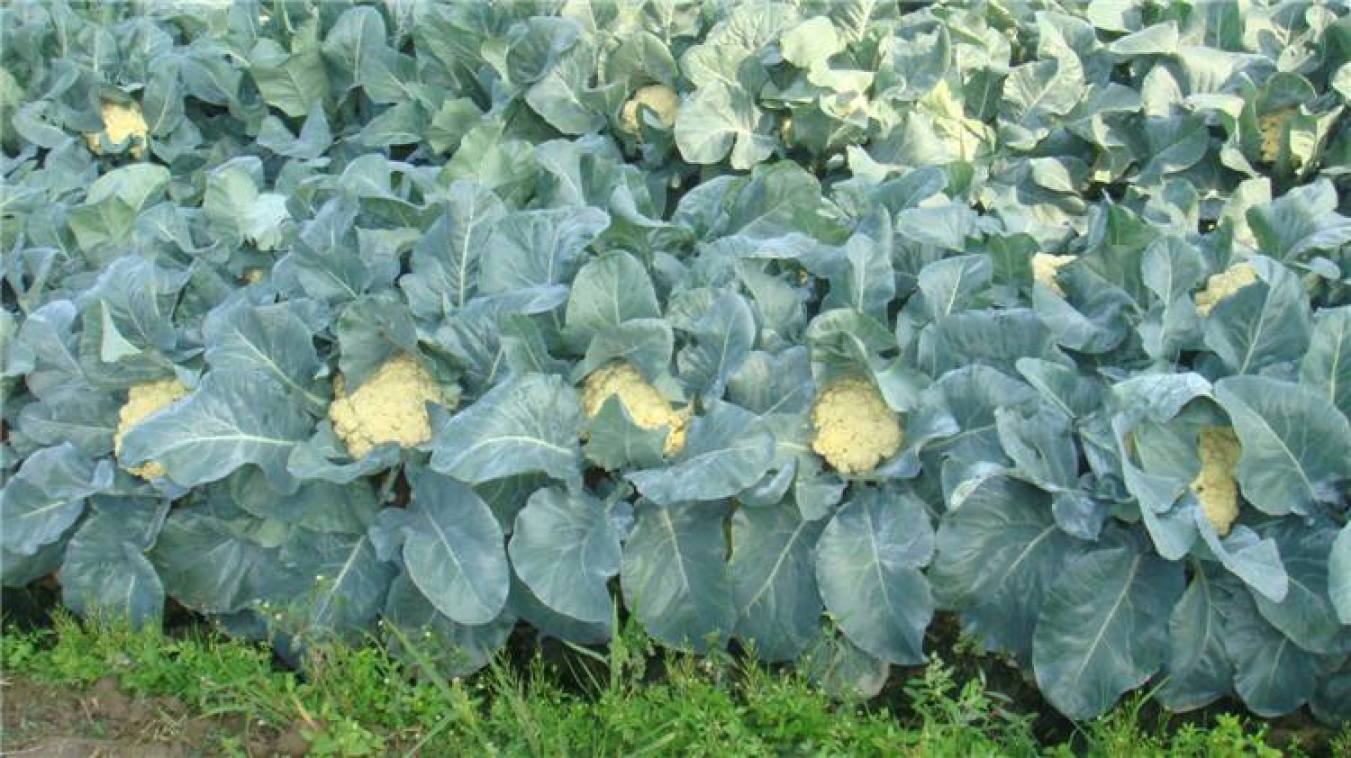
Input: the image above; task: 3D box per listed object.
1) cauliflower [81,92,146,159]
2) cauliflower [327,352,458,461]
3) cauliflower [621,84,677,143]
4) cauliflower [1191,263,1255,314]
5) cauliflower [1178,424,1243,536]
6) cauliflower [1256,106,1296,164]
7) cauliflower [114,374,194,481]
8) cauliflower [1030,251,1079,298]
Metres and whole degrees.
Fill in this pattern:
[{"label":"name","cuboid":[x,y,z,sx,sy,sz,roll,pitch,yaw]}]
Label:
[{"label":"cauliflower","cuboid":[-4.210,-1.897,8.269,0.526,0.155,0.561,-43,25,-4]},{"label":"cauliflower","cuboid":[-1.672,0.177,6.373,0.749,0.852,0.266,-1,34,-10]},{"label":"cauliflower","cuboid":[-0.186,-1.743,7.331,0.367,0.360,0.189,3,17,-2]},{"label":"cauliflower","cuboid":[3.140,-0.539,6.463,0.451,0.154,0.379,10,-3,-2]},{"label":"cauliflower","cuboid":[2.900,0.535,6.012,0.384,0.532,0.206,-12,-15,21]},{"label":"cauliflower","cuboid":[3.805,-1.566,7.191,0.186,0.340,0.198,12,19,27]},{"label":"cauliflower","cuboid":[-3.055,0.279,6.530,0.444,0.545,0.317,15,20,33]},{"label":"cauliflower","cuboid":[2.225,-0.611,6.624,0.271,0.085,0.251,7,44,-39]}]
